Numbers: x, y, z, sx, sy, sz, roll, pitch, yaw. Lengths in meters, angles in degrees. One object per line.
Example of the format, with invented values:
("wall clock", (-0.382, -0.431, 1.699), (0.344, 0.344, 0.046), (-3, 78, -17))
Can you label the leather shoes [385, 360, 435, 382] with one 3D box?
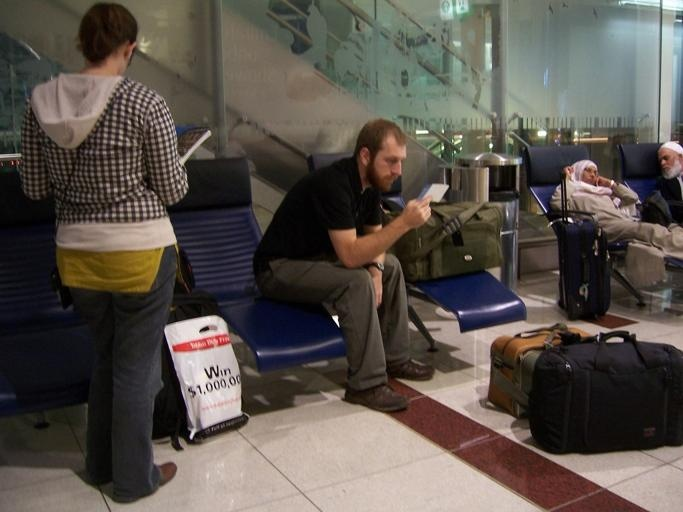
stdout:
("leather shoes", (0.415, 0.695, 3.492), (0.284, 0.146, 0.120), (-1, 6, 1))

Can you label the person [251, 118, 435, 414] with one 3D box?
("person", (0.037, 0.003, 3.355), (0.934, 1.554, 0.657), (7, 15, 31))

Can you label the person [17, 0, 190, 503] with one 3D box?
("person", (-0.972, 0.027, 2.381), (0.624, 2.036, 0.326), (1, 13, 9))

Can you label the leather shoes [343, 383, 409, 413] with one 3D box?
("leather shoes", (0.190, 0.749, 3.186), (0.332, 0.164, 0.134), (3, 5, 30))

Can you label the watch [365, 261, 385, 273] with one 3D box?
("watch", (0.194, 0.079, 3.306), (0.072, 0.059, 0.082), (-9, -15, 26))

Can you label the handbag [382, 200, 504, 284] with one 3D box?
("handbag", (0.701, -0.083, 3.644), (0.660, 0.443, 0.497), (-7, 10, -27))
